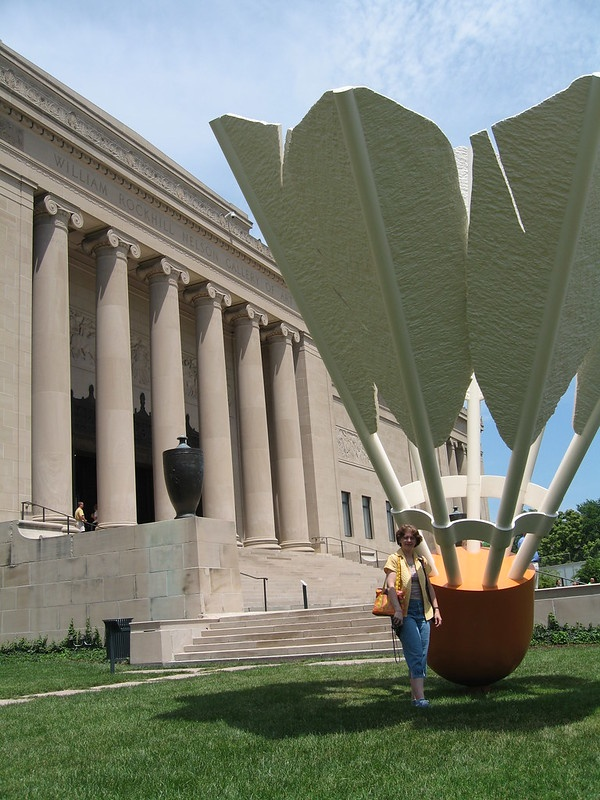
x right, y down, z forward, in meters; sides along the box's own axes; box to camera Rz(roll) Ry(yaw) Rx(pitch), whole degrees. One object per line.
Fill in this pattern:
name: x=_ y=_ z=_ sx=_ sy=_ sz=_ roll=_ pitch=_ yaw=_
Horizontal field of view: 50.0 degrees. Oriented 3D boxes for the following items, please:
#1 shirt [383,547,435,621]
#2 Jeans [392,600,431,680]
shirt: x=0.888 y=1.527 z=5.364 sx=0.398 sy=0.555 sz=0.288 roll=9 pitch=-26 yaw=-18
Jeans: x=0.947 y=1.919 z=5.189 sx=0.339 sy=0.817 sz=0.175 roll=-4 pitch=-1 yaw=-7
